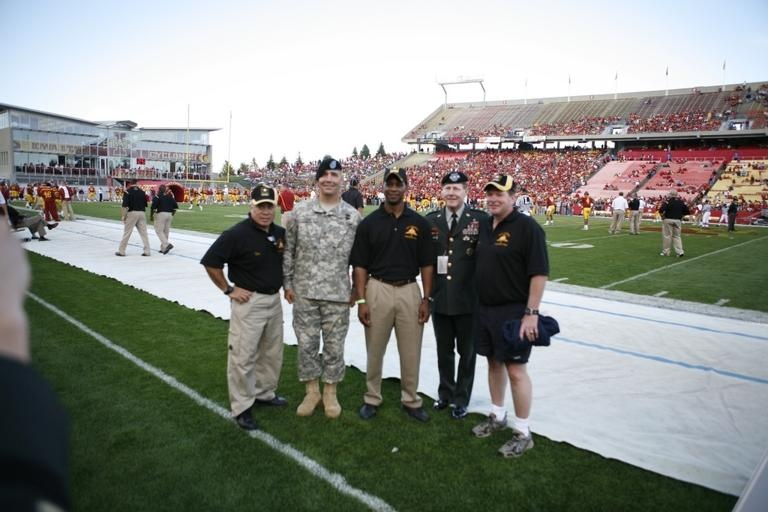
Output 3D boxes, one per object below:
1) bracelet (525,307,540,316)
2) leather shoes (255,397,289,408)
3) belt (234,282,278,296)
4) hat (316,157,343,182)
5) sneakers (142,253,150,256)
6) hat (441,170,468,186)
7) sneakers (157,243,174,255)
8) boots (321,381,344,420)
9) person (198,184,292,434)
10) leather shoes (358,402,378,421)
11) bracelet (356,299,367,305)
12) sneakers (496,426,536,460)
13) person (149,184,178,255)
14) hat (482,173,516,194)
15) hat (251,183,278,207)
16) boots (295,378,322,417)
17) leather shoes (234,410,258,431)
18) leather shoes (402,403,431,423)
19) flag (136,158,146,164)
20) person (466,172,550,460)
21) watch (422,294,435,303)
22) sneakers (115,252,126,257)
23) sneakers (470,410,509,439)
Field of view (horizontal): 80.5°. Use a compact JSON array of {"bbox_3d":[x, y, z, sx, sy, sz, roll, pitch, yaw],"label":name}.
[{"bbox_3d":[1.275,0.472,3.879,0.095,0.058,0.094,7,-3,-33],"label":"bracelet"},{"bbox_3d":[-1.131,1.451,4.539,0.283,0.113,0.116,-2,8,-8],"label":"leather shoes"},{"bbox_3d":[-1.211,0.304,4.392,0.235,0.082,0.185,5,4,3],"label":"belt"},{"bbox_3d":[-0.531,-0.854,4.432,0.208,0.218,0.341,-5,13,-31],"label":"hat"},{"bbox_3d":[-6.250,-0.032,11.971,0.095,0.089,0.231,-2,1,-40],"label":"sneakers"},{"bbox_3d":[0.731,-0.798,4.663,0.237,0.151,0.284,10,13,36],"label":"hat"},{"bbox_3d":[-5.961,-0.133,12.500,0.220,0.524,0.189,46,9,-40],"label":"sneakers"},{"bbox_3d":[-0.493,1.389,4.385,0.175,0.281,0.222,0,11,-8],"label":"boots"},{"bbox_3d":[-1.297,0.419,4.366,0.695,2.163,1.020,3,11,8],"label":"person"},{"bbox_3d":[-0.144,1.494,4.401,0.181,0.088,0.215,2,11,-1],"label":"leather shoes"},{"bbox_3d":[-0.220,0.459,4.583,0.077,0.047,0.079,1,0,-41],"label":"bracelet"},{"bbox_3d":[1.124,1.585,3.861,0.370,0.158,0.142,-3,3,-42],"label":"sneakers"},{"bbox_3d":[-6.100,-1.036,12.628,0.632,1.880,1.317,-4,12,-25],"label":"person"},{"bbox_3d":[1.086,-0.670,4.166,0.170,0.131,0.258,1,-2,43],"label":"hat"},{"bbox_3d":[-1.169,-0.594,4.444,0.187,0.147,0.261,4,7,-18],"label":"hat"},{"bbox_3d":[-0.736,1.385,4.475,0.152,0.269,0.444,2,6,15],"label":"boots"},{"bbox_3d":[-1.230,1.489,4.104,0.106,0.111,0.269,3,-3,-44],"label":"leather shoes"},{"bbox_3d":[0.320,1.529,4.423,0.266,0.105,0.100,7,12,41],"label":"leather shoes"},{"bbox_3d":[-32.536,-12.742,61.017,1.000,0.861,0.235,2,5,-7],"label":"flag"},{"bbox_3d":[1.104,0.462,4.034,0.606,2.325,0.988,4,11,10],"label":"person"},{"bbox_3d":[0.463,0.436,4.619,0.089,0.049,0.073,13,3,4],"label":"watch"},{"bbox_3d":[-6.914,-0.063,11.909,0.349,0.132,0.120,16,17,34],"label":"sneakers"},{"bbox_3d":[0.970,1.564,4.213,0.366,0.155,0.140,-7,7,-32],"label":"sneakers"}]
